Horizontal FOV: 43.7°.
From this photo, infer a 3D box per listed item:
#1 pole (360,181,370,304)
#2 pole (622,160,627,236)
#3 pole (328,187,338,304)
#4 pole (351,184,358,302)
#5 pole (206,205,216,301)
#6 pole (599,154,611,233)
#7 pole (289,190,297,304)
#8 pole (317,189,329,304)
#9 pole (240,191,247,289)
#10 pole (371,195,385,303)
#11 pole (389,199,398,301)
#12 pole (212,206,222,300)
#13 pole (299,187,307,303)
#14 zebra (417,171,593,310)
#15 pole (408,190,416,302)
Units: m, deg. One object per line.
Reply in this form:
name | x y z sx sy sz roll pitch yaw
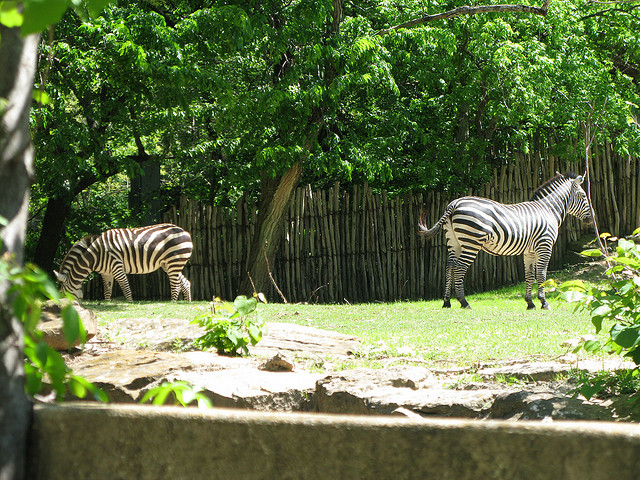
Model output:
pole | 0.767 0.030 13.630 0.181 2.051 0.209 1 -2 -23
pole | 5.637 -0.794 14.770 0.081 1.344 0.123 0 -2 20
pole | 0.209 0.092 13.424 0.163 1.895 0.280 0 -2 30
pole | 0.589 0.076 13.512 0.123 1.949 0.258 1 -1 2
pole | -1.862 0.172 13.676 0.126 1.614 0.063 -6 1 3
pole | 5.274 -0.859 14.772 0.201 1.418 0.226 0 -2 19
pole | -0.447 0.134 13.374 0.150 1.804 0.093 1 -1 -7
pole | 0.056 0.123 13.479 0.140 1.921 0.178 -3 0 -19
pole | -1.289 0.092 13.545 0.107 1.431 0.284 1 -2 -6
pole | 0.999 0.149 13.601 0.234 1.767 0.069 1 -1 -6
pole | 1.250 0.178 13.619 0.115 1.691 0.211 0 -2 40
pole | -1.769 0.219 13.742 0.185 1.546 0.196 1 -2 -12
pole | -0.284 0.077 13.375 0.134 1.896 0.180 2 -2 -26
zebra | 2.633 0.056 11.061 2.453 2.050 0.693 0 1 -6
pole | 1.575 0.101 13.626 0.137 1.843 0.127 1 -1 6
